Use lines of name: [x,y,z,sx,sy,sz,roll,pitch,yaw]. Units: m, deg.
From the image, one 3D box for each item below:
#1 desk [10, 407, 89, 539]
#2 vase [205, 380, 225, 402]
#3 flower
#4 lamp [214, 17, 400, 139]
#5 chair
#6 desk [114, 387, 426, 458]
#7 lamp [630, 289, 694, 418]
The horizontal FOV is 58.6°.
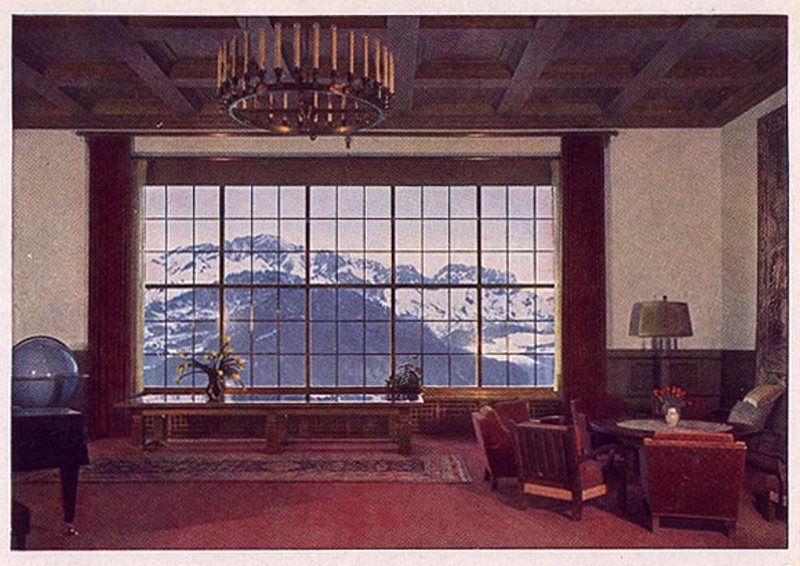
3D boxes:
desk: [-2.833,1.558,5.767,0.540,1.145,0.643,2,-4,-27]
vase: [-1.984,1.169,7.730,0.185,0.219,0.209,1,-4,-17]
flower: [-2.289,1.001,8.811,0.849,0.680,2.806,1,-4,-17]
lamp: [-0.836,-1.782,6.532,1.486,1.004,1.479,-1,-10,0]
chair: [1.911,1.608,6.414,2.203,0.985,1.201,-2,-4,25]
desk: [-1.389,1.569,7.997,3.188,0.652,1.319,1,0,-4]
lamp: [2.763,0.565,7.358,0.785,1.529,0.637,1,-2,7]
